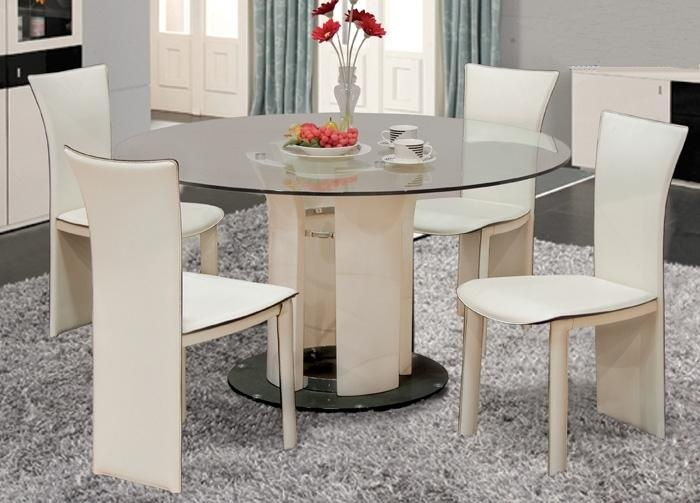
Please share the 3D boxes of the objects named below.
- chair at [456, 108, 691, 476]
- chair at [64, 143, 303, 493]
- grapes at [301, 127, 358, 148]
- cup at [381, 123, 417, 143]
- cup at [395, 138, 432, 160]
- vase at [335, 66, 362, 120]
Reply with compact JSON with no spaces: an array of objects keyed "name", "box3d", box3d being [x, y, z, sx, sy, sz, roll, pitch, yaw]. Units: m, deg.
[{"name":"chair","box3d":[0.796,0.107,2.495,0.718,1.131,0.521,-6,18,-21]},{"name":"chair","box3d":[-0.569,0.200,2.428,0.547,1.133,0.646,8,15,22]},{"name":"grapes","box3d":[-0.084,-0.429,2.654,0.156,0.058,0.102,3,12,-3]},{"name":"cup","box3d":[0.191,-0.473,2.794,0.139,0.107,0.112,0,21,13]},{"name":"cup","box3d":[0.233,-0.376,2.596,0.115,0.086,0.091,7,14,14]},{"name":"vase","box3d":[-0.013,-0.646,2.885,0.115,0.225,0.114,-7,19,-23]}]
